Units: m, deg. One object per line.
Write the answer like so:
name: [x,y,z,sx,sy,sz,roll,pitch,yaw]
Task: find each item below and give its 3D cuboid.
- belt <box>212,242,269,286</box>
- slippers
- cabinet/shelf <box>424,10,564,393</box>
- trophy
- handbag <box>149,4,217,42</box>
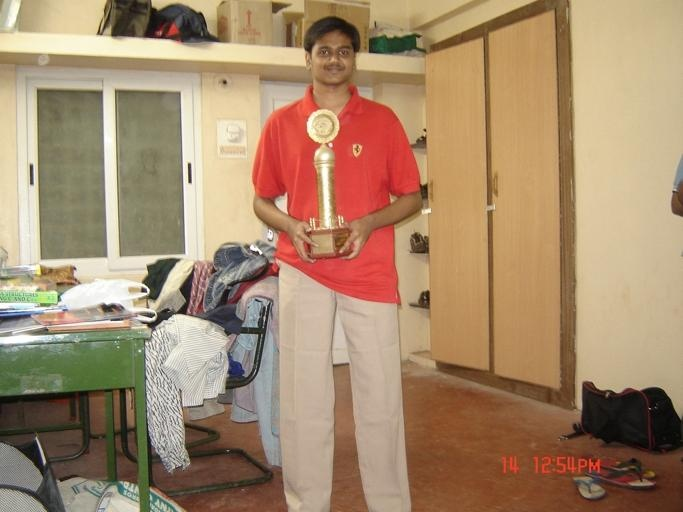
belt: [-0.563,0.044,3.122,0.269,0.247,0.273,-1,5,-18]
slippers: [1.373,1.135,2.925,0.508,0.051,0.327,-3,6,-14]
cabinet/shelf: [1.140,-0.394,4.279,0.710,2.691,1.654,-1,1,-23]
trophy: [-0.056,-0.280,2.171,0.153,0.575,0.202,-1,6,-3]
handbag: [-1.186,-1.719,4.184,0.482,0.274,0.121,-1,6,-1]
